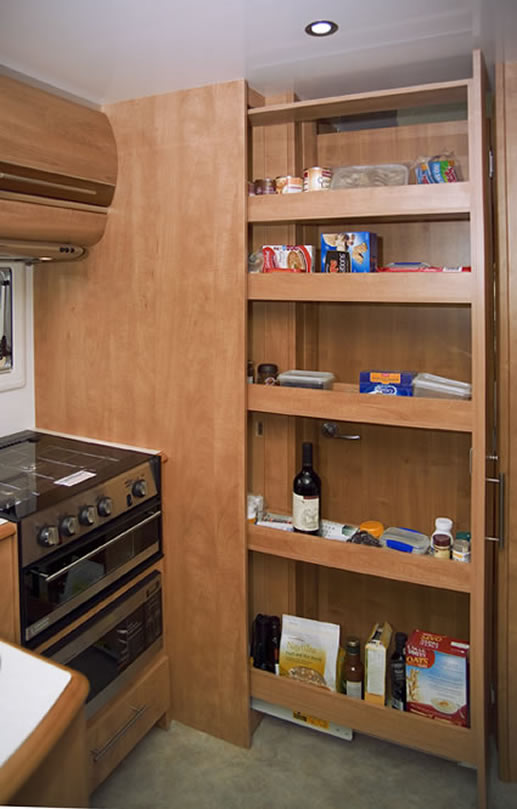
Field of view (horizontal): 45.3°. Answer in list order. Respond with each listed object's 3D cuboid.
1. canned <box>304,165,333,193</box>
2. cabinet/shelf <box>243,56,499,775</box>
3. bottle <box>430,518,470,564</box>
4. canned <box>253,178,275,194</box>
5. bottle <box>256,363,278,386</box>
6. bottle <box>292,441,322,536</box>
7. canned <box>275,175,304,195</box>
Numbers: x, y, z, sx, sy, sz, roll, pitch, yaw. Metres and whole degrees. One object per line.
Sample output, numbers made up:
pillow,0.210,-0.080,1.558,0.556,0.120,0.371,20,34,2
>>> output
canned,0.140,-0.541,1.536,0.066,0.073,0.066,1,3,-18
cabinet/shelf,0.268,0.075,1.654,0.684,1.711,0.422,2,6,24
bottle,0.485,0.344,1.574,0.070,0.134,0.118,0,1,-43
canned,0.014,-0.558,1.598,0.044,0.035,0.048,-1,18,-8
bottle,0.025,-0.079,1.716,0.052,0.056,0.055,4,9,20
bottle,0.131,0.224,1.694,0.070,0.261,0.156,0,6,6
canned,0.074,-0.544,1.546,0.056,0.041,0.058,6,11,35
